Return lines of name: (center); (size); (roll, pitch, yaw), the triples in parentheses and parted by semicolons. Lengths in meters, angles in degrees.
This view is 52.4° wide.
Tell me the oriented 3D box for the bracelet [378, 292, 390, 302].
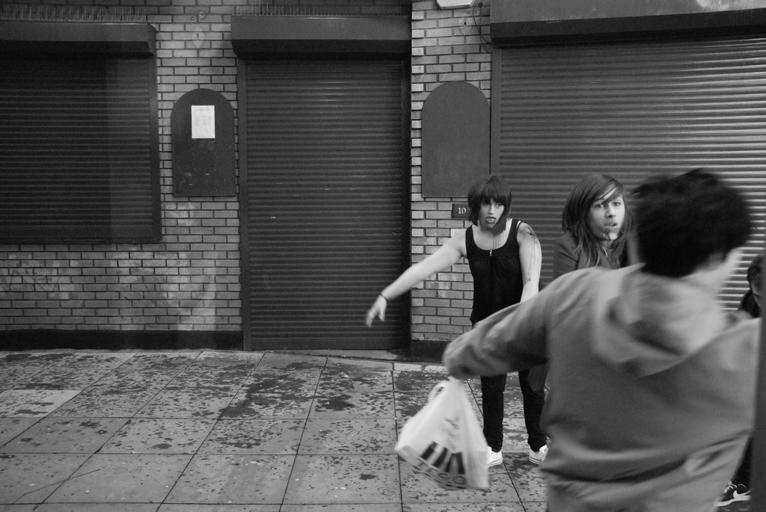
bracelet: (0.004, 0.319, 5.879); (0.074, 0.055, 0.072); (-9, 51, -36)
